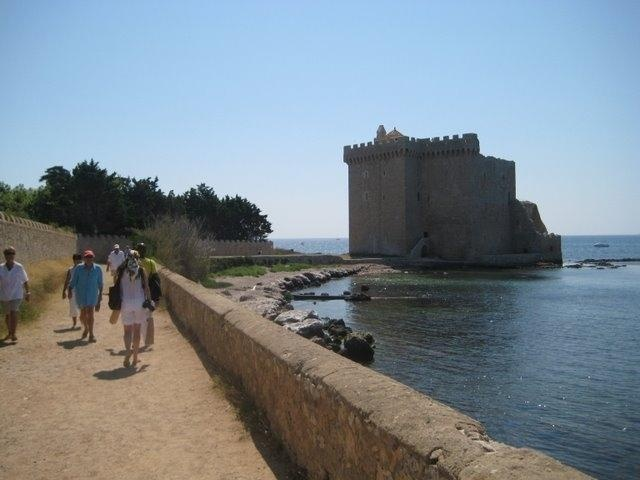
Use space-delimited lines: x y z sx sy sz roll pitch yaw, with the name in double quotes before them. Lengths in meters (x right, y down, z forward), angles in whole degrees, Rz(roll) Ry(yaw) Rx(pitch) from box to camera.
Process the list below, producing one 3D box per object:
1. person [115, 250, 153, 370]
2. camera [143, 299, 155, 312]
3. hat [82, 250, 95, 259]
"person" -3.041 1.059 8.290 0.528 1.832 0.784 5 0 -26
"camera" -2.786 1.041 8.356 0.130 0.204 0.191 6 11 18
"hat" -5.982 0.356 13.188 0.340 0.267 0.503 2 -7 -22
